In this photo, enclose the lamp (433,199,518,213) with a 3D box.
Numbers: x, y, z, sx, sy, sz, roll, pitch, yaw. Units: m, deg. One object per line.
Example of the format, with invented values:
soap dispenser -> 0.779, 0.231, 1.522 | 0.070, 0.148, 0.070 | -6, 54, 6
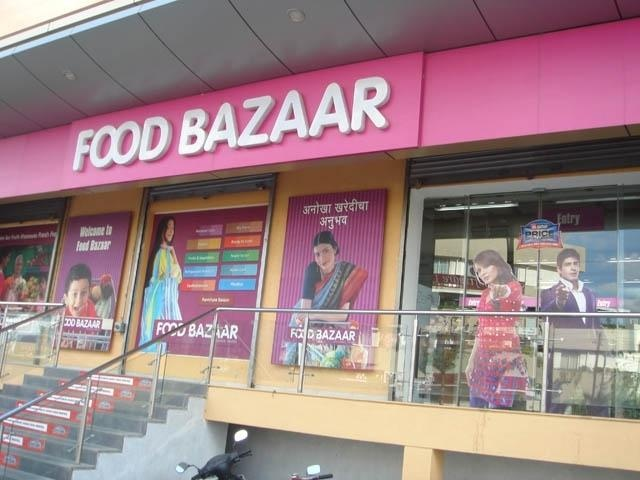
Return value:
lamp -> 2.493, -0.530, 8.568 | 0.809, 0.165, 0.082 | -5, -9, 23
